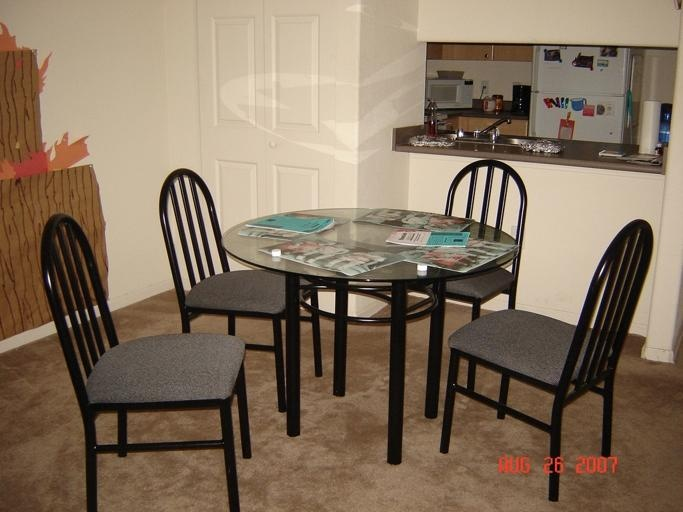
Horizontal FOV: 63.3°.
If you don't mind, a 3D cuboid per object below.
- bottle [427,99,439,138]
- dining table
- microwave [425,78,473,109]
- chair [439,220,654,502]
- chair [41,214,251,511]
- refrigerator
[{"bbox_3d":[0.635,-0.976,3.902,0.067,0.238,0.207,3,19,8],"label":"bottle"},{"bbox_3d":[0.225,0.261,2.548,1.153,0.828,1.166,13,21,34],"label":"dining table"},{"bbox_3d":[1.197,-1.803,6.175,0.704,0.318,0.154,-13,23,-37],"label":"microwave"},{"bbox_3d":[0.822,0.338,2.252,0.590,1.095,0.545,15,24,36],"label":"chair"},{"bbox_3d":[-0.681,0.388,2.032,0.645,1.070,0.517,-3,19,-11],"label":"chair"},{"bbox_3d":[2.237,-1.539,5.236,0.897,0.840,0.266,8,21,21],"label":"refrigerator"}]
